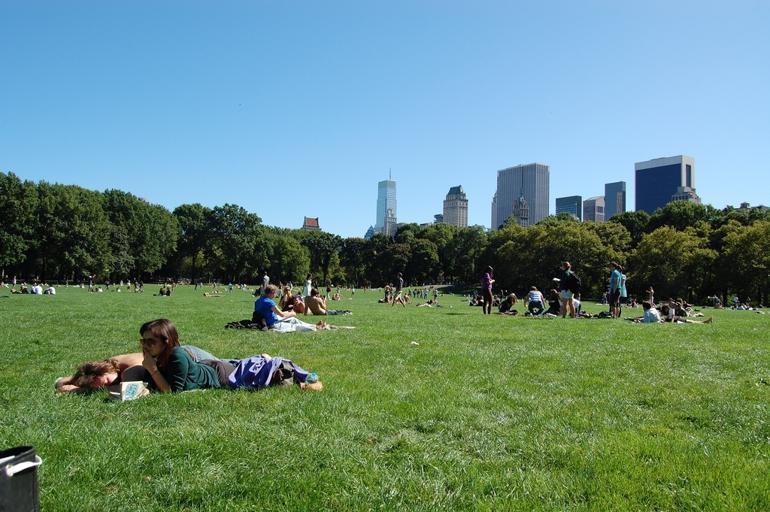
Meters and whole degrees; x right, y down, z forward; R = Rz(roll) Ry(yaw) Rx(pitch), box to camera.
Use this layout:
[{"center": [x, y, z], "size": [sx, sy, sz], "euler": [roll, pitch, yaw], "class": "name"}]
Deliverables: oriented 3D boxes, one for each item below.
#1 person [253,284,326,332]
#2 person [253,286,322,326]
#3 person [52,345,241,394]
[{"center": [-2.911, 1.594, 20.774], "size": [2.200, 1.322, 1.040], "euler": [2, 4, -2], "class": "person"}, {"center": [-3.000, 1.585, 21.312], "size": [2.201, 1.274, 1.036], "euler": [9, 2, -37], "class": "person"}, {"center": [-5.321, 2.308, 13.753], "size": [1.995, 0.641, 1.388], "euler": [-8, -16, -9], "class": "person"}]
